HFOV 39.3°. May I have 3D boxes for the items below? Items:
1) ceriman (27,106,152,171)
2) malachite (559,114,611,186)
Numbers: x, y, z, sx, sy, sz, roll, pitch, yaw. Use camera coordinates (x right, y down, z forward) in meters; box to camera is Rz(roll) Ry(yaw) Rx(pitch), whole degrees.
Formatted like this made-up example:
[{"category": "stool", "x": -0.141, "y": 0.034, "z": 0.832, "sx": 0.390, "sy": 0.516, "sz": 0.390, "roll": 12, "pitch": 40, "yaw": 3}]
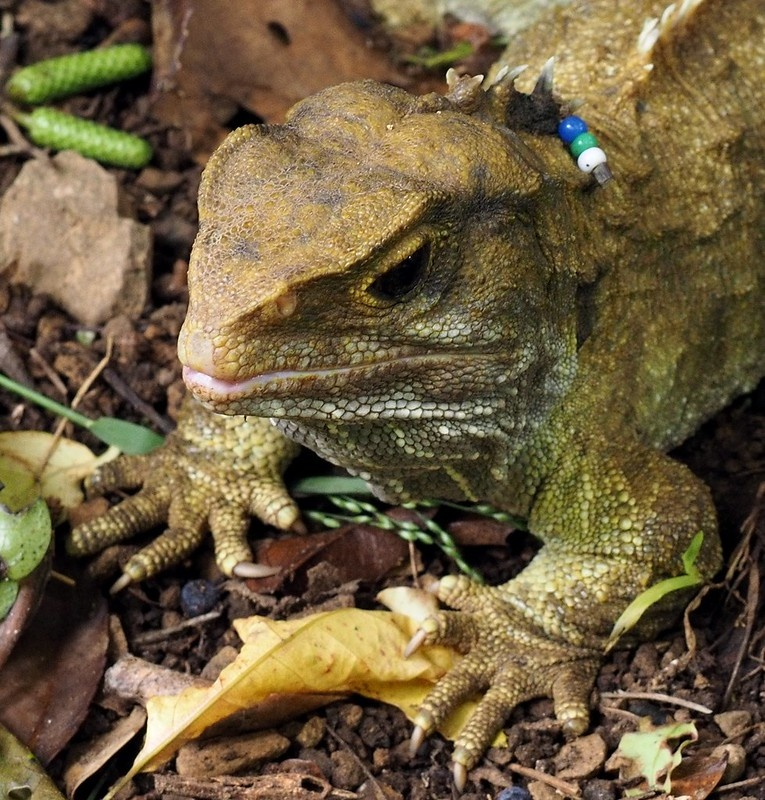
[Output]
[{"category": "ceriman", "x": -0.987, "y": -0.867, "z": 3.574, "sx": 0.512, "sy": 0.109, "sz": 0.120, "roll": 10, "pitch": 26, "yaw": -18}, {"category": "malachite", "x": 0.524, "y": -0.651, "z": 2.789, "sx": 0.136, "sy": 0.136, "sz": 0.195, "roll": -7, "pitch": 49, "yaw": -11}]
